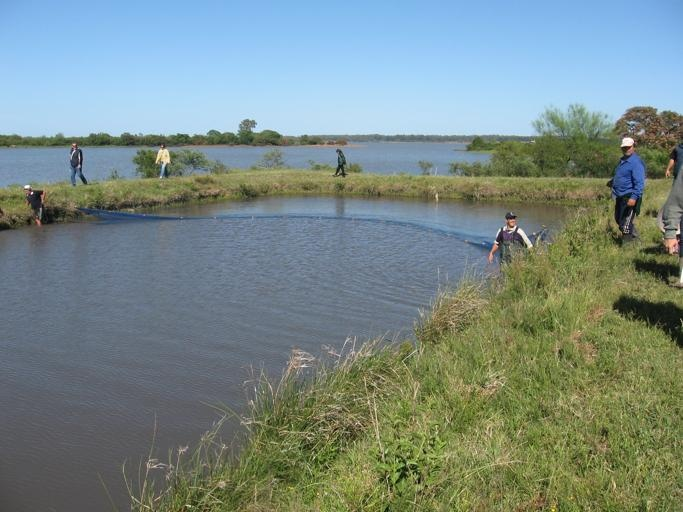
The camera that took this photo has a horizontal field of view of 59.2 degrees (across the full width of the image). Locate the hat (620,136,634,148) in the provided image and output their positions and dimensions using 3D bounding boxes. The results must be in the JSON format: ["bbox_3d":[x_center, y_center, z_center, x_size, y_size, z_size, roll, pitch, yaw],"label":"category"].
[{"bbox_3d":[6.975,-2.776,14.753,0.247,0.241,0.696,7,16,26],"label":"hat"}]

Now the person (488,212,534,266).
[{"bbox_3d":[4.194,-0.447,14.933,0.797,1.181,1.424,0,14,1],"label":"person"}]

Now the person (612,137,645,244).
[{"bbox_3d":[7.023,-1.643,14.778,0.633,2.445,1.008,-2,14,-6],"label":"person"}]

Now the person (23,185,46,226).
[{"bbox_3d":[-13.418,-2.257,26.316,0.819,1.907,0.645,0,33,-14],"label":"person"}]
